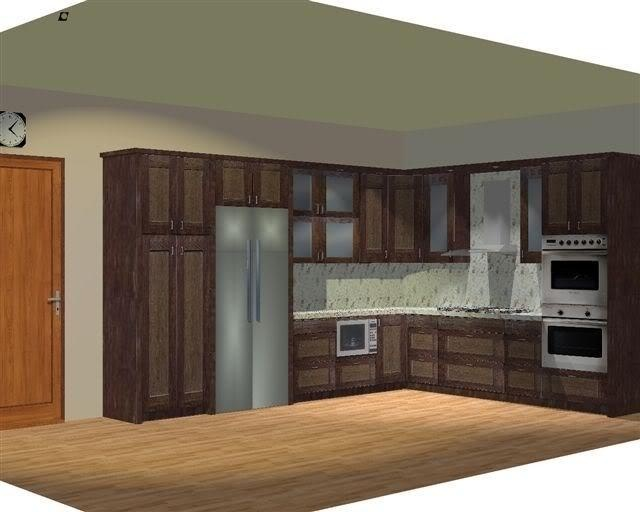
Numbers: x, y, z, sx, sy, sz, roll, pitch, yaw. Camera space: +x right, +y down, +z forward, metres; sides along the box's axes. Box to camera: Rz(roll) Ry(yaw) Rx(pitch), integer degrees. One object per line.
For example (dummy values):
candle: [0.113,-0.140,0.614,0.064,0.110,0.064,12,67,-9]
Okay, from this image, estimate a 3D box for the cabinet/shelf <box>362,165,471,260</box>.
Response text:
cabinet/shelf: [1.499,-0.544,7.746,1.868,1.705,1.277,0,-2,-36]

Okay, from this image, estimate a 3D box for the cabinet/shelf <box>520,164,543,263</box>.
cabinet/shelf: [2.771,-0.549,6.627,0.249,1.243,0.151,0,1,23]

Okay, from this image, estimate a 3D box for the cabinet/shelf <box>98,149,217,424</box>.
cabinet/shelf: [-1.833,0.328,5.716,1.284,3.011,0.586,-1,1,-13]

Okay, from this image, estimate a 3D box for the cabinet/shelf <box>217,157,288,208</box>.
cabinet/shelf: [-0.860,-0.902,6.180,0.719,0.424,0.247,1,-3,-36]
